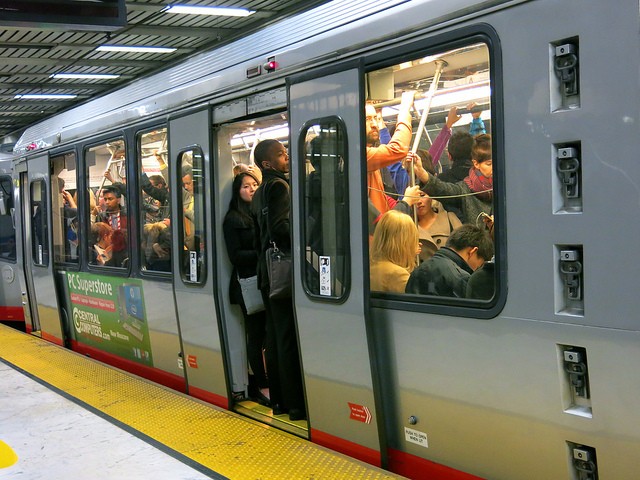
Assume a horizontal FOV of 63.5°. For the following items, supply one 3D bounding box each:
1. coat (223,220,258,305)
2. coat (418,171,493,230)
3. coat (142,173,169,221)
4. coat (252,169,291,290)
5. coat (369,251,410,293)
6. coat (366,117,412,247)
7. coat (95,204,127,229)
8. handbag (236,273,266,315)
[{"bbox_3d":[-0.737,0.202,5.033,0.348,0.871,0.379,-1,2,21],"label":"coat"},{"bbox_3d":[0.860,-0.253,3.291,0.063,0.361,0.506,-10,9,-42],"label":"coat"},{"bbox_3d":[-1.771,-0.493,5.592,0.349,0.504,0.168,11,23,34],"label":"coat"},{"bbox_3d":[-0.388,-0.044,4.794,0.410,1.066,0.724,-8,-2,-10],"label":"coat"},{"bbox_3d":[0.484,0.221,3.555,0.311,0.268,0.054,2,9,43],"label":"coat"},{"bbox_3d":[0.489,-0.417,3.581,0.262,0.896,0.224,9,8,42],"label":"coat"},{"bbox_3d":[-2.527,-0.272,6.223,0.326,0.260,0.328,-2,3,-23],"label":"coat"},{"bbox_3d":[-0.646,0.489,4.911,0.159,0.420,0.299,-15,-3,34],"label":"handbag"}]
